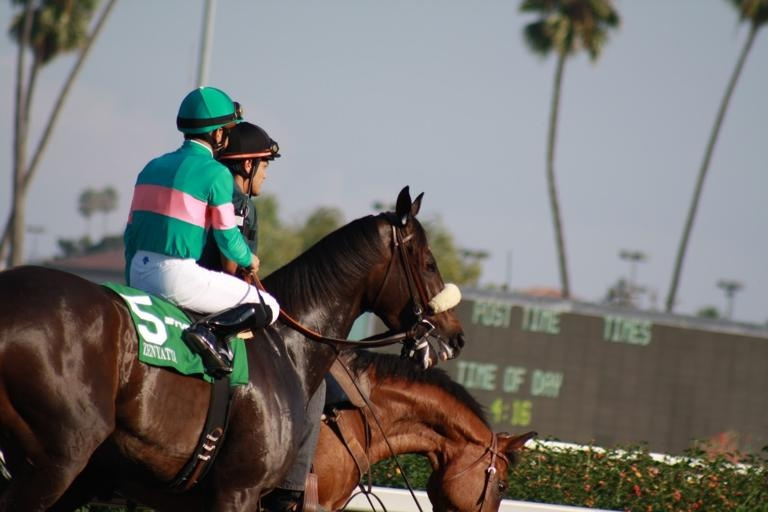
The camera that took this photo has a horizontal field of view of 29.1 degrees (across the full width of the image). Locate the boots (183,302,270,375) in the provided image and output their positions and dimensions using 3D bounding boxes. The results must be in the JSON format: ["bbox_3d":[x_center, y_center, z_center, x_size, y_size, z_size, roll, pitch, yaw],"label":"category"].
[{"bbox_3d":[-1.675,0.972,16.534,0.343,0.713,0.685,19,-9,37],"label":"boots"}]
